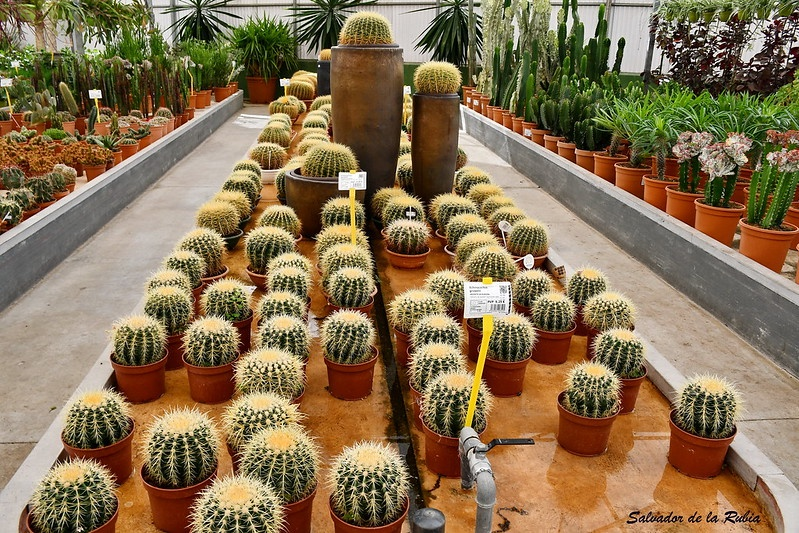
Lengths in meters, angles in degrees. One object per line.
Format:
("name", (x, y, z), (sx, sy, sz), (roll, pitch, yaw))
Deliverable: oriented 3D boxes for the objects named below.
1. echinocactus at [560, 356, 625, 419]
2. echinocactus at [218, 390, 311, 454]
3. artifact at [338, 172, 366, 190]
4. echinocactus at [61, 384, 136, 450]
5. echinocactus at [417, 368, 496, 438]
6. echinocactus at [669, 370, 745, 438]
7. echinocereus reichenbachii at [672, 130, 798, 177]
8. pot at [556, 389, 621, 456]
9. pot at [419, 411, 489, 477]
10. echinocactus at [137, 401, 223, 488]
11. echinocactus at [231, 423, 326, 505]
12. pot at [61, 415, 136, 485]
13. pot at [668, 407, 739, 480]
("echinocactus", (0.925, 0.578, 2.477), (0.231, 0.250, 0.238), (0, 19, 4))
("echinocactus", (-0.608, 0.624, 2.258), (0.253, 0.275, 0.265), (4, 10, 16))
("artifact", (-0.337, -0.564, 3.536), (0.160, 0.146, 0.270), (1, 24, 2))
("echinocactus", (-1.319, 0.634, 2.288), (0.230, 0.252, 0.240), (4, 9, 10))
("echinocactus", (0.257, 0.611, 2.266), (0.267, 0.288, 0.281), (1, 27, 0))
("echinocactus", (1.420, 0.601, 2.424), (0.267, 0.293, 0.285), (1, 21, 20))
("echinocereus reichenbachii", (2.394, -0.900, 3.767), (0.472, 0.244, 0.515), (-42, 39, -17))
("pot", (0.872, 0.755, 2.418), (0.221, 0.179, 0.247), (1, 23, 0))
("pot", (0.186, 0.817, 2.368), (0.177, 0.163, 0.212), (-1, 13, -1))
("echinocactus", (-0.912, 0.704, 2.156), (0.282, 0.303, 0.277), (-9, 20, -34))
("echinocactus", (-0.475, 0.743, 2.069), (0.260, 0.277, 0.271), (17, 31, 26))
("pot", (-1.312, 0.842, 2.291), (0.243, 0.194, 0.245), (2, 26, -1))
("pot", (1.412, 0.831, 2.436), (0.276, 0.236, 0.297), (-6, 15, 2))
